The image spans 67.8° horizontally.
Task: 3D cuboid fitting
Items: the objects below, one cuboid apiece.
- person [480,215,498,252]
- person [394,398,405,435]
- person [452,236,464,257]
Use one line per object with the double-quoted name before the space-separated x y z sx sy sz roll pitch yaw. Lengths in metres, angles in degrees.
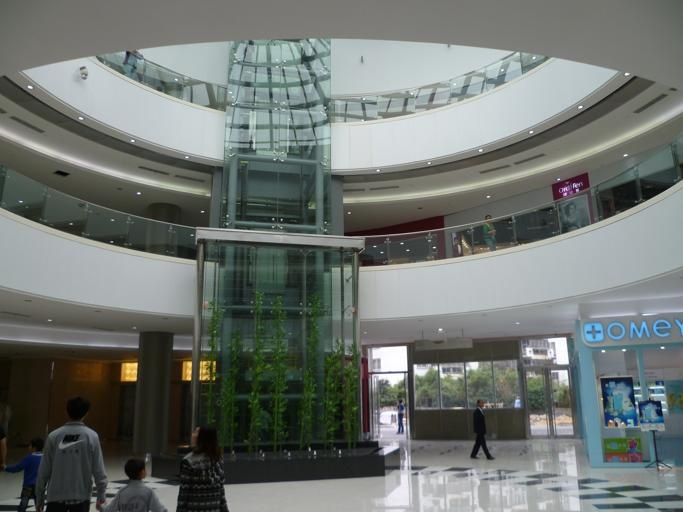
"person" 3.892 -0.559 13.322 0.333 0.971 0.363 -8 -14 22
"person" 2.454 6.593 20.936 0.325 1.442 0.646 -3 -13 0
"person" 3.101 -0.235 13.536 0.084 0.825 0.338 23 -29 -34
